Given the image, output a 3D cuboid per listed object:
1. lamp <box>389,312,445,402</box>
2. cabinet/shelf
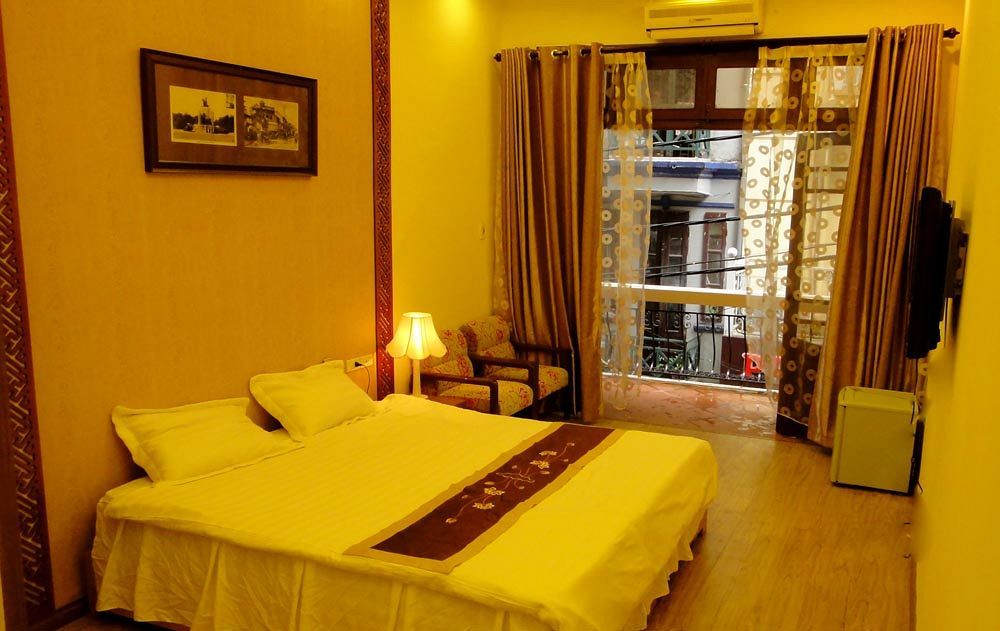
[{"bbox_3d":[-0.745,0.376,6.390,0.512,0.776,0.495,-2,13,-15],"label":"lamp"},{"bbox_3d":[3.082,1.026,6.170,0.613,0.743,0.586,4,10,28],"label":"cabinet/shelf"}]
